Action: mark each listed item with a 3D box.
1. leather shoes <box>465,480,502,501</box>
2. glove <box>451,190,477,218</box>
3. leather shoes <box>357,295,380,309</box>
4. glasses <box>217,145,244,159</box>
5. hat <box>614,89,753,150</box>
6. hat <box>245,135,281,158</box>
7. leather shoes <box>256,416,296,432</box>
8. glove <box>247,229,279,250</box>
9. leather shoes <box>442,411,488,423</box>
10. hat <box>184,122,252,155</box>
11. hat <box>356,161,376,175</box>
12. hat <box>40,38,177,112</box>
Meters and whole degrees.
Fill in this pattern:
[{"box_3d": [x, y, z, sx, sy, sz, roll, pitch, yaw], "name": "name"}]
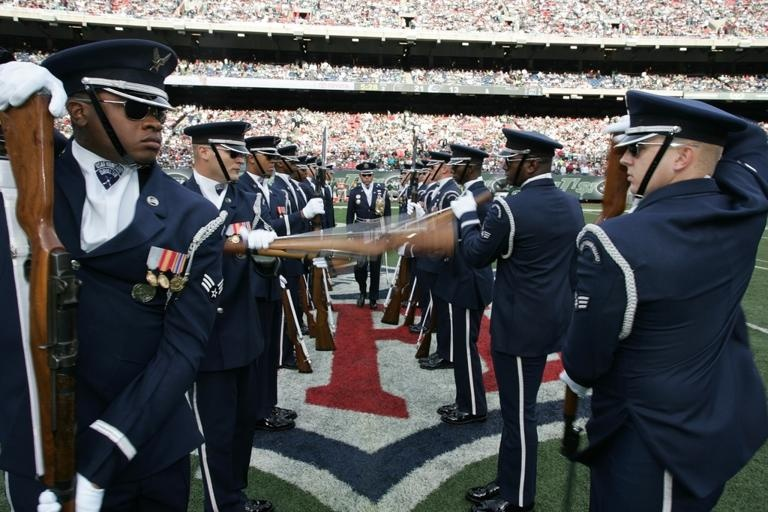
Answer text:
[{"box_3d": [0.715, 1.691, 5.394, 0.277, 0.097, 0.103, -4, 24, -7], "name": "leather shoes"}, {"box_3d": [0.631, -0.398, 5.707, 0.174, 0.202, 0.065, 12, 6, 19], "name": "glove"}, {"box_3d": [-0.241, 0.648, 10.572, 0.135, 0.173, 0.404, -3, -3, -22], "name": "leather shoes"}, {"box_3d": [-1.059, -0.725, 5.233, 0.034, 0.112, 0.096, 29, 15, 34], "name": "glasses"}, {"box_3d": [1.575, -0.774, 3.987, 0.453, 0.194, 0.394, 6, 10, 18], "name": "hat"}, {"box_3d": [-1.160, -1.035, 6.966, 0.255, 0.121, 0.297, -4, 8, -36], "name": "hat"}, {"box_3d": [-0.917, 1.403, 6.303, 0.237, 0.083, 0.143, 0, 5, -3], "name": "leather shoes"}, {"box_3d": [-0.805, -0.114, 4.951, 0.193, 0.122, 0.115, -2, 14, -11], "name": "glove"}, {"box_3d": [0.708, 1.380, 6.587, 0.378, 0.156, 0.138, 3, 0, -5], "name": "leather shoes"}, {"box_3d": [-1.174, -0.840, 5.249, 0.314, 0.130, 0.275, 3, 5, 17], "name": "hat"}, {"box_3d": [-0.282, -1.416, 12.088, 0.242, 0.232, 0.667, 1, 14, 1], "name": "hat"}, {"box_3d": [-1.392, -0.865, 3.838, 0.470, 0.188, 0.433, 2, 6, 19], "name": "hat"}]
